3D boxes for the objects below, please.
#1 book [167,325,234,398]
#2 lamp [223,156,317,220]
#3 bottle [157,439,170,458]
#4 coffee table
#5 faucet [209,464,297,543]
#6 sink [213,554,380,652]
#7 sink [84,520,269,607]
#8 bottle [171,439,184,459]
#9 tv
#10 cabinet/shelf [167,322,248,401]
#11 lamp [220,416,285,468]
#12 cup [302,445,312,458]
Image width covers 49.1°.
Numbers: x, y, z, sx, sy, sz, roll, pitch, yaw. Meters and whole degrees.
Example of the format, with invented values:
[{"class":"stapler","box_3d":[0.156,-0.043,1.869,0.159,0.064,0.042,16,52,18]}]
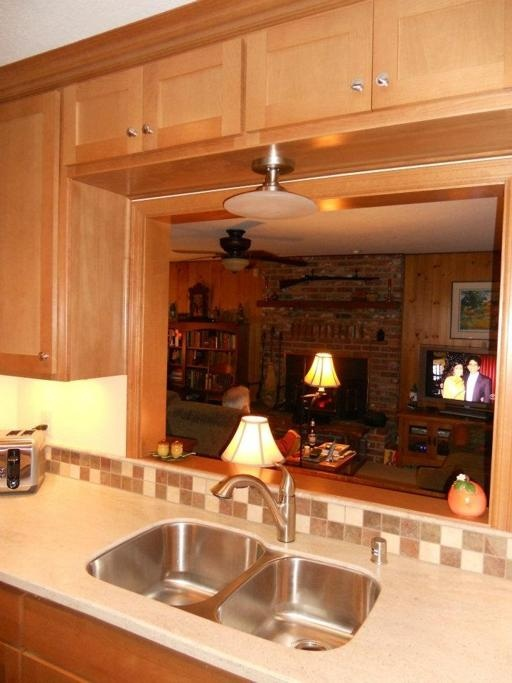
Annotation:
[{"class":"book","box_3d":[-0.728,0.261,7.731,1.077,0.962,0.310,0,-3,34]},{"class":"lamp","box_3d":[0.031,-0.392,1.418,0.269,0.109,0.263,3,6,-11]},{"class":"bottle","box_3d":[-0.364,0.428,2.208,0.048,0.062,0.052,0,9,0]},{"class":"coffee table","box_3d":[0.504,0.905,4.463,0.667,0.257,0.608,0,-1,25]},{"class":"faucet","box_3d":[0.016,0.508,1.676,0.112,0.269,0.366,5,10,31]},{"class":"sink","box_3d":[0.124,0.764,1.597,0.302,0.110,0.239,5,12,36]},{"class":"sink","box_3d":[-0.270,0.662,1.768,0.314,0.143,0.311,4,3,35]},{"class":"bottle","box_3d":[-0.307,0.431,2.238,0.056,0.073,0.055,1,3,0]},{"class":"tv","box_3d":[2.104,0.426,5.837,0.821,0.547,0.240,3,-6,32]},{"class":"cabinet/shelf","box_3d":[-0.621,0.252,7.528,1.172,1.054,0.368,1,-2,34]},{"class":"lamp","box_3d":[-0.015,0.313,1.833,0.177,0.110,0.183,4,-6,-42]},{"class":"cup","box_3d":[0.411,0.882,4.484,0.065,0.109,0.065,3,-2,0]}]
